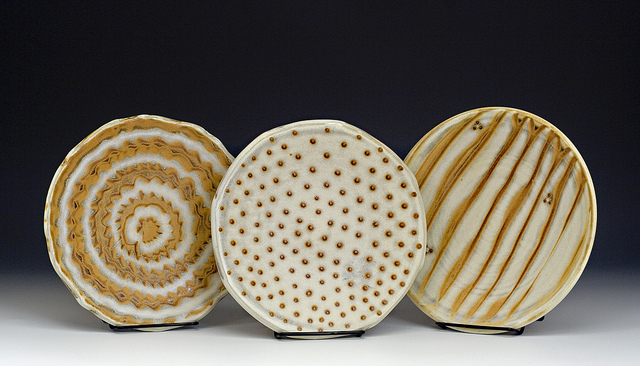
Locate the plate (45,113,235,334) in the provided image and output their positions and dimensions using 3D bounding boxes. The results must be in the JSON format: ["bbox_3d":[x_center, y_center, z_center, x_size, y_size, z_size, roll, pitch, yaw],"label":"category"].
[{"bbox_3d":[-0.992,0.233,5.056,0.994,1.120,0.540,3,-24,-11],"label":"plate"}]
